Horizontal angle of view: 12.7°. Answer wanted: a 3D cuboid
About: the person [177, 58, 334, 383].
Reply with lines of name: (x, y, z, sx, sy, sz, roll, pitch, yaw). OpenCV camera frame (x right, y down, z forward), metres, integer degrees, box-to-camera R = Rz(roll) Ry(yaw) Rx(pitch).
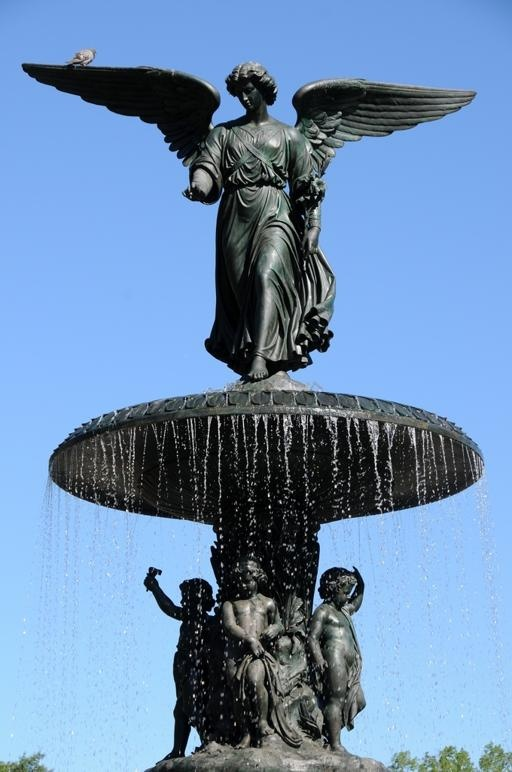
person: (0.071, -1.545, 20.769, 1.113, 3.195, 1.086, 2, -24, -3)

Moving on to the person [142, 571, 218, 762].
person: (-0.511, 2.390, 19.573, 0.488, 1.534, 0.372, -5, -11, 29)

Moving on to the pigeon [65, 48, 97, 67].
pigeon: (-1.609, -3.102, 21.444, 0.223, 0.151, 0.135, 3, -11, -11)

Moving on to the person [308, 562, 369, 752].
person: (0.668, 2.285, 19.348, 0.468, 1.587, 0.656, 0, -10, 2)

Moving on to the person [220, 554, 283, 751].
person: (-0.047, 2.205, 19.070, 0.465, 1.579, 0.513, 0, -10, 3)
